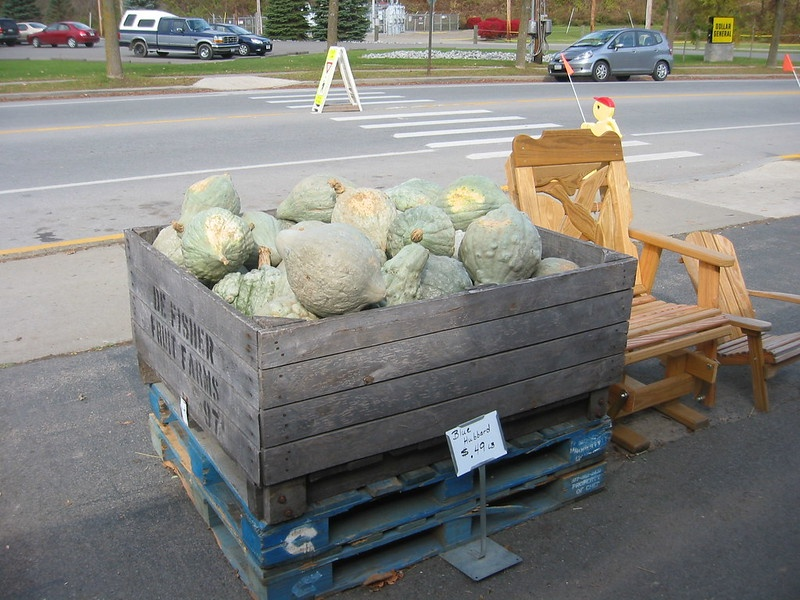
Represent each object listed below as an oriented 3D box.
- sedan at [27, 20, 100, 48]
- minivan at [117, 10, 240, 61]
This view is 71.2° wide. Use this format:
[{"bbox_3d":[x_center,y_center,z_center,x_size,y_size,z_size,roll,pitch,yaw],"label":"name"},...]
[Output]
[{"bbox_3d":[-25.411,-20.062,42.328,4.938,1.938,1.309,4,23,14],"label":"sedan"},{"bbox_3d":[-13.696,-16.102,33.769,7.001,2.995,2.020,8,24,23],"label":"minivan"}]
